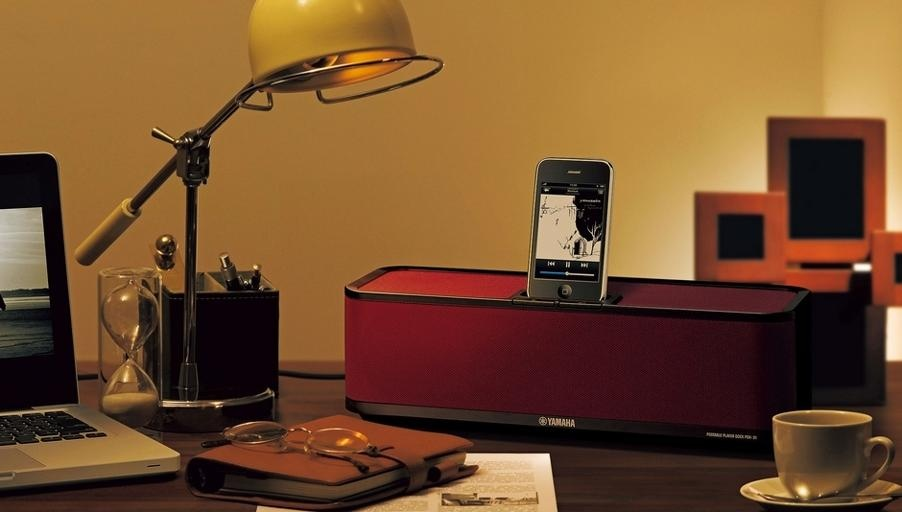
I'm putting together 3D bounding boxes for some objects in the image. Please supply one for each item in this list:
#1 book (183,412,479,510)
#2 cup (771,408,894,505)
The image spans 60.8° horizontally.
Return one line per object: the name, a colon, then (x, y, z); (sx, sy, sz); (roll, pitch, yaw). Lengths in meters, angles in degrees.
book: (-0.176, 0.307, 1.145); (0.373, 0.100, 0.212); (1, 2, 23)
cup: (0.510, 0.270, 1.063); (0.152, 0.100, 0.119); (0, -3, 11)
